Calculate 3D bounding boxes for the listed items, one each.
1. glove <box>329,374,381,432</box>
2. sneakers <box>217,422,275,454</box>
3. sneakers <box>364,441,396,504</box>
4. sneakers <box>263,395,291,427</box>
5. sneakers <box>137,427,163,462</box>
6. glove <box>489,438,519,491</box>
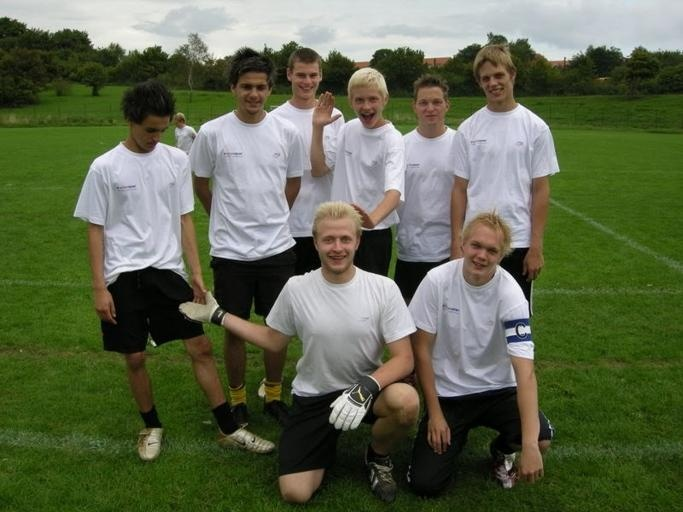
[{"bbox_3d":[0.116,1.197,5.258,0.302,0.200,0.496,23,56,23],"label":"glove"},{"bbox_3d":[-0.881,1.721,5.928,0.550,0.217,0.206,6,8,6],"label":"sneakers"},{"bbox_3d":[0.333,1.880,5.488,0.166,0.219,0.474,-2,34,-19],"label":"sneakers"},{"bbox_3d":[-0.650,1.542,6.317,0.130,0.147,0.356,-7,11,-33],"label":"sneakers"},{"bbox_3d":[-1.753,1.713,5.735,0.127,0.152,0.378,4,14,-18],"label":"sneakers"},{"bbox_3d":[1.438,1.810,5.596,0.150,0.474,0.324,-4,-9,4],"label":"glove"}]
